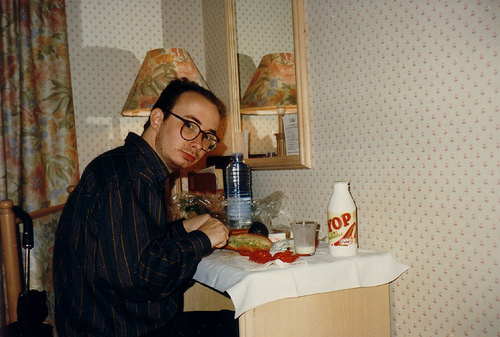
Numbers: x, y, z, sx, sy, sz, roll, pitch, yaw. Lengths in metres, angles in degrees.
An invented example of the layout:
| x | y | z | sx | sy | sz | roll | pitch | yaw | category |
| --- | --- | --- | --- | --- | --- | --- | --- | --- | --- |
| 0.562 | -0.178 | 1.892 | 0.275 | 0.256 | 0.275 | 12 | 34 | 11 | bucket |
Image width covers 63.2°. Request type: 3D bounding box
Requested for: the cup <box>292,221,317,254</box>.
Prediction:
| x | y | z | sx | sy | sz | roll | pitch | yaw | category |
| --- | --- | --- | --- | --- | --- | --- | --- | --- | --- |
| 0.229 | 0.295 | 1.724 | 0.114 | 0.133 | 0.118 | -1 | -4 | 0 | cup |

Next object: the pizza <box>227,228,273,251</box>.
| x | y | z | sx | sy | sz | roll | pitch | yaw | category |
| --- | --- | --- | --- | --- | --- | --- | --- | --- | --- |
| -0.008 | 0.296 | 1.784 | 0.169 | 0.055 | 0.088 | 3 | 15 | 14 | pizza |
